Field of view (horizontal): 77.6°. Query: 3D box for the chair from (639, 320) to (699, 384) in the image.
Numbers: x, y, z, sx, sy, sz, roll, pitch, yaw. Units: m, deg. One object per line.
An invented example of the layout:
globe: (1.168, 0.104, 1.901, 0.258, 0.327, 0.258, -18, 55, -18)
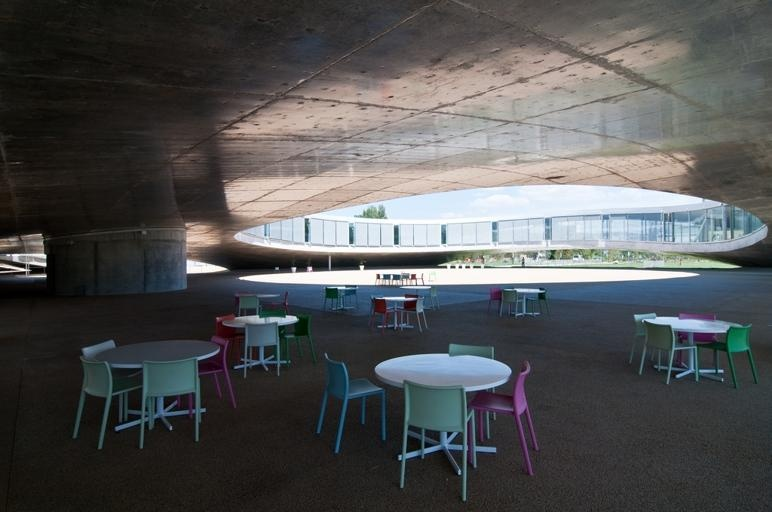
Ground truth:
chair: (5.143, 1.631, 8.754, 0.907, 0.958, 1.898, 2, 5, 27)

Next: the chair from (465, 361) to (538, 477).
chair: (1.590, 1.907, 6.460, 0.847, 1.202, 1.755, 0, 5, 13)

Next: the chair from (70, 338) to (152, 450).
chair: (-3.981, 1.890, 6.873, 0.909, 1.108, 1.651, -4, 6, -27)

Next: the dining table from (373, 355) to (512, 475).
dining table: (0.766, 1.919, 6.306, 1.575, 0.758, 1.537, -1, -1, 37)

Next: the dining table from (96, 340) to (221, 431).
dining table: (-3.379, 1.887, 7.162, 1.561, 0.721, 1.354, 2, 8, 1)

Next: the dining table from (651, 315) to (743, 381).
dining table: (5.597, 1.691, 8.841, 1.457, 0.711, 1.256, -1, 8, -7)
